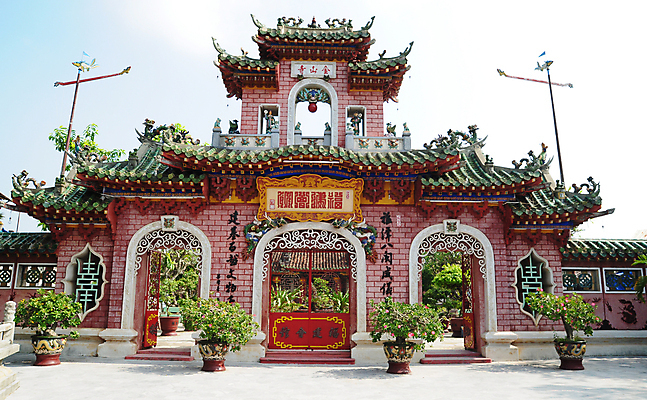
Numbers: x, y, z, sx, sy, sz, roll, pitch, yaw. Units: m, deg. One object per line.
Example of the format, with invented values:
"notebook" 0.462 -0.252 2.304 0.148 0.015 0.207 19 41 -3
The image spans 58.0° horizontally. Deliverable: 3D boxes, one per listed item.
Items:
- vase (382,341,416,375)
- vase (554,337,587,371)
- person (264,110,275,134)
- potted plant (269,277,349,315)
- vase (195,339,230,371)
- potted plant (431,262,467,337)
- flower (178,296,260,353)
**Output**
"vase" 2.278 4.734 17.595 0.987 0.912 1.002 18 -22 -41
"vase" 7.608 4.756 18.100 0.971 0.856 0.940 5 -11 -28
"person" -1.846 -2.753 20.427 0.439 0.831 1.373 1 5 -6
"potted plant" -0.627 4.358 26.199 2.348 1.129 3.418 -2 -13 8
"vase" -3.131 4.607 17.350 0.785 0.590 0.797 -4 -11 5
"potted plant" 6.288 4.438 26.588 2.174 3.305 2.161 2 -4 28
"flower" -3.123 3.861 17.493 2.177 1.765 1.172 0 6 -11
